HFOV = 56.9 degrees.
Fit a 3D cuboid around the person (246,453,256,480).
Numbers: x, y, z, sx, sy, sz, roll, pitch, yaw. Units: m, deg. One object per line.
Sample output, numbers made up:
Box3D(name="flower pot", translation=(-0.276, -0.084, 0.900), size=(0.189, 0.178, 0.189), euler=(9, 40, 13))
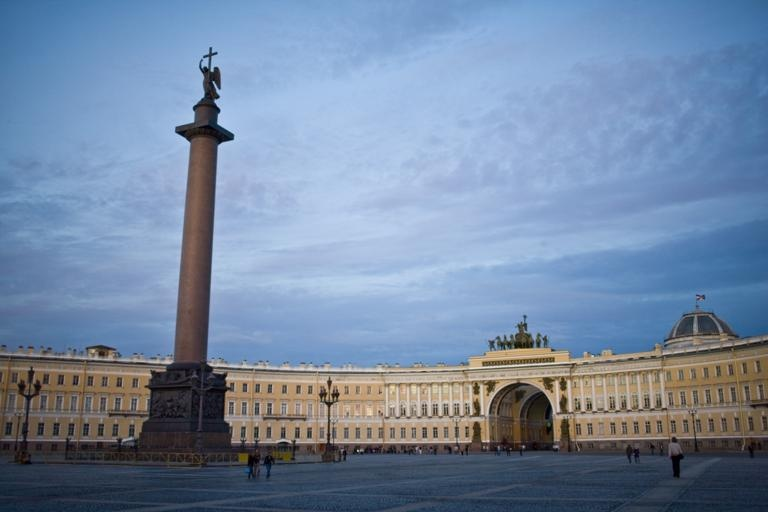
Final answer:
Box3D(name="person", translation=(-8.188, 12.857, 43.828), size=(0.474, 1.456, 1.788), euler=(2, -16, -11))
